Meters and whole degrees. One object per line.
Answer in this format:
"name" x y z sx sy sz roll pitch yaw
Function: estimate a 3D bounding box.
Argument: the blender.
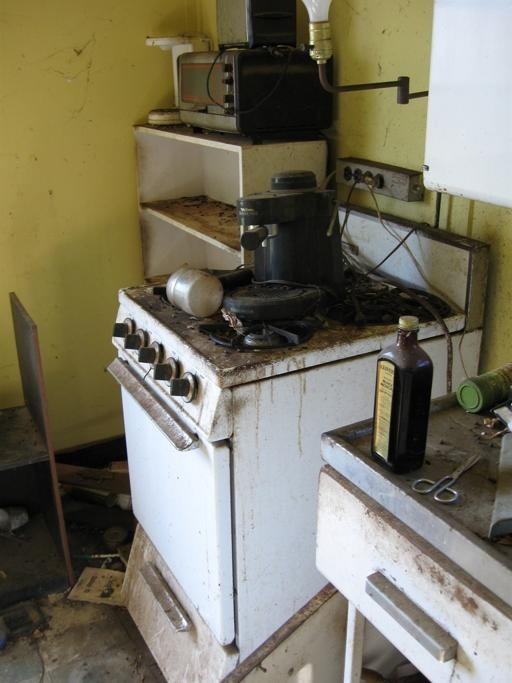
"blender" -0.295 -1.016 2.347 0.237 0.399 0.224 23 34 37

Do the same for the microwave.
"microwave" -0.027 -0.793 1.978 0.340 0.273 0.516 -13 28 -21

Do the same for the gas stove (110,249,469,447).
"gas stove" 0.002 -0.023 1.662 0.665 0.157 0.751 -16 26 -26

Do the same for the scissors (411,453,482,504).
"scissors" 0.299 0.204 0.940 0.067 0.007 0.151 18 25 40

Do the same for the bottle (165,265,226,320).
"bottle" -0.148 -0.122 1.578 0.131 0.127 0.137 34 0 -30

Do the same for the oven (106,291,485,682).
"oven" -0.027 0.305 1.899 0.994 1.065 0.773 -13 22 -33

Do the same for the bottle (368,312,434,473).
"bottle" 0.228 0.085 0.957 0.086 0.239 0.083 1 17 0

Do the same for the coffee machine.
"coffee machine" 0.026 -0.219 1.570 0.369 0.362 0.322 -9 28 -23
